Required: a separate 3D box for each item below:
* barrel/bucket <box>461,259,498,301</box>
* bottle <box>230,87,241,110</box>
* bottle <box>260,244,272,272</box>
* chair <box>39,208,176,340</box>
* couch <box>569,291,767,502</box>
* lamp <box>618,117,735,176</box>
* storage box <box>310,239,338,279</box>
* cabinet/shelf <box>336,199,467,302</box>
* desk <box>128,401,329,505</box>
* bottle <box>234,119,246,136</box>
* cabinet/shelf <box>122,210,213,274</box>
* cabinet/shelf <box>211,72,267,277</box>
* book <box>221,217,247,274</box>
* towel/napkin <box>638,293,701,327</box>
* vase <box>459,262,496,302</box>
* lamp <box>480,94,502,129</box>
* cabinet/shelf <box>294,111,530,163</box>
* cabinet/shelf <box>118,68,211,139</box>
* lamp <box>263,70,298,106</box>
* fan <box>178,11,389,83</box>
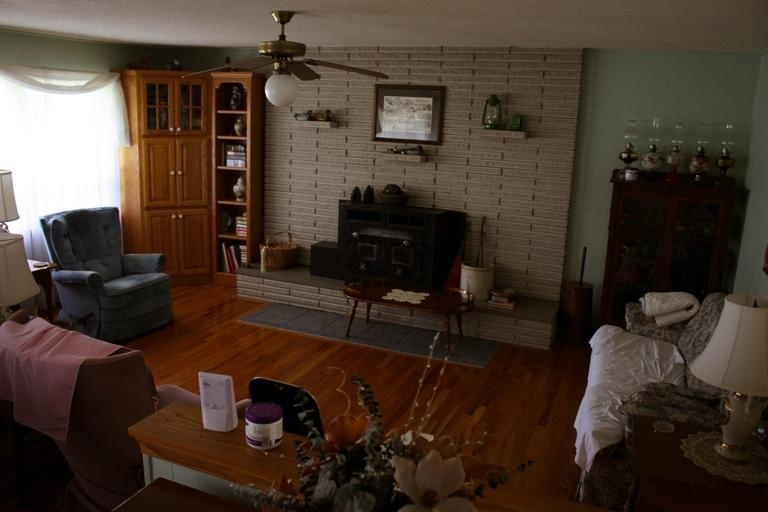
[{"bbox_3d":[1.076,0.269,6.412,0.437,0.395,0.416,1,11,0],"label":"barrel/bucket"},{"bbox_3d":[-1.961,-2.096,7.294,0.122,0.308,0.145,2,14,0],"label":"bottle"},{"bbox_3d":[-1.558,0.031,7.207,0.138,0.314,0.214,-1,14,-10],"label":"bottle"},{"bbox_3d":[-3.050,0.157,6.046,1.155,1.171,1.042,19,22,35],"label":"chair"},{"bbox_3d":[1.979,0.982,3.779,0.740,0.608,1.468,9,21,29],"label":"couch"},{"bbox_3d":[3.168,-1.153,5.808,0.795,0.378,0.150,2,5,20],"label":"lamp"},{"bbox_3d":[-0.751,0.057,6.931,0.530,0.422,0.275,4,8,26],"label":"storage box"},{"bbox_3d":[0.065,-0.101,6.586,1.608,0.908,0.472,7,14,25],"label":"cabinet/shelf"},{"bbox_3d":[-0.752,0.997,2.584,0.834,0.351,0.305,9,22,19],"label":"desk"},{"bbox_3d":[-1.942,-1.732,7.351,0.156,0.250,0.302,-2,13,-15],"label":"bottle"},{"bbox_3d":[-3.040,-0.170,7.549,0.638,0.980,1.139,-3,-1,30],"label":"cabinet/shelf"},{"bbox_3d":[-1.970,-1.079,7.411,0.659,2.643,0.555,5,15,11],"label":"cabinet/shelf"},{"bbox_3d":[-2.082,-0.145,7.529,0.189,0.685,0.564,-5,8,-44],"label":"book"},{"bbox_3d":[2.625,0.470,5.006,0.388,0.120,0.377,-11,18,-20],"label":"towel/napkin"},{"bbox_3d":[1.093,0.282,6.492,0.410,0.381,0.376,3,13,-1],"label":"vase"},{"bbox_3d":[1.273,-1.651,6.330,0.213,0.392,0.124,3,14,6],"label":"lamp"},{"bbox_3d":[0.278,-1.451,6.674,2.883,0.602,0.220,6,14,18],"label":"cabinet/shelf"},{"bbox_3d":[-2.886,-1.967,7.075,1.141,0.953,0.447,-5,13,-22],"label":"cabinet/shelf"},{"bbox_3d":[-0.781,-1.269,4.159,0.217,0.245,0.256,0,13,-10],"label":"lamp"},{"bbox_3d":[-0.794,-1.626,4.230,1.611,0.494,1.496,6,20,9],"label":"fan"}]
